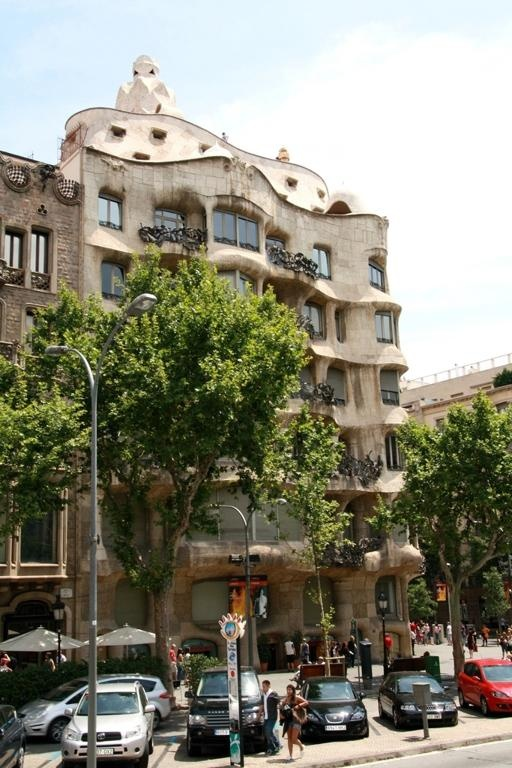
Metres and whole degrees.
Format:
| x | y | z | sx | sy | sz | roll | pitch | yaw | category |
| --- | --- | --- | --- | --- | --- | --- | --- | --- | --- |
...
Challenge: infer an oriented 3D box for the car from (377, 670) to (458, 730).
| x | y | z | sx | sy | sz | roll | pitch | yaw | category |
| --- | --- | --- | --- | --- | --- | --- | --- | --- | --- |
| 4.006 | 7.857 | 21.824 | 1.448 | 1.179 | 2.808 | -2 | -11 | -9 | car |

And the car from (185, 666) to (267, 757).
| x | y | z | sx | sy | sz | roll | pitch | yaw | category |
| --- | --- | --- | --- | --- | --- | --- | --- | --- | --- |
| -0.661 | 7.203 | 19.427 | 1.235 | 1.030 | 2.200 | -1 | -31 | 0 | car |
